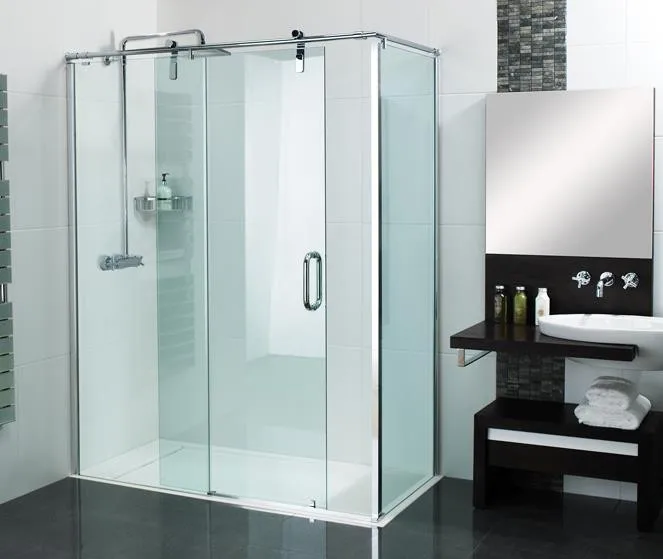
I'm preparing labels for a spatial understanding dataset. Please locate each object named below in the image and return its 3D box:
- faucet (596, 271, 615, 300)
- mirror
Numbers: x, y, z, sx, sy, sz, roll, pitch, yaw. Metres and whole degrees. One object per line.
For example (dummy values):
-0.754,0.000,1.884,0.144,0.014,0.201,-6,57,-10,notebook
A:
1.363,0.030,3.268,0.069,0.125,0.046,15,6,19,faucet
1.249,-0.572,3.335,0.809,0.903,0.062,1,2,20,mirror
